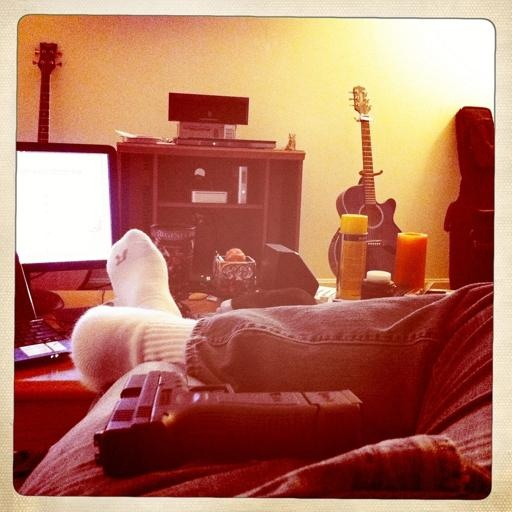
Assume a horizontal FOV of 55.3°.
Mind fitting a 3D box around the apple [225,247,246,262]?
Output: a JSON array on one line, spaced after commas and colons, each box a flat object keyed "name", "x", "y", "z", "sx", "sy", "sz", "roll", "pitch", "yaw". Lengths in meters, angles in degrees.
[{"name": "apple", "x": -0.041, "y": -0.004, "z": 0.940, "sx": 0.029, "sy": 0.032, "sz": 0.030, "roll": 0, "pitch": 0, "yaw": -2}]

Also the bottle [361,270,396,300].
[{"name": "bottle", "x": 0.182, "y": 0.041, "z": 0.731, "sx": 0.043, "sy": 0.045, "sz": 0.045, "roll": 0, "pitch": 0, "yaw": -2}]

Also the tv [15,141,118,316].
[{"name": "tv", "x": -0.301, "y": -0.078, "z": 0.776, "sx": 0.147, "sy": 0.196, "sz": 0.062, "roll": -4, "pitch": -15, "yaw": -24}]

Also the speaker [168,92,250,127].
[{"name": "speaker", "x": -0.177, "y": -0.543, "z": 1.806, "sx": 0.288, "sy": 0.102, "sz": 0.061, "roll": 1, "pitch": 6, "yaw": -8}]
